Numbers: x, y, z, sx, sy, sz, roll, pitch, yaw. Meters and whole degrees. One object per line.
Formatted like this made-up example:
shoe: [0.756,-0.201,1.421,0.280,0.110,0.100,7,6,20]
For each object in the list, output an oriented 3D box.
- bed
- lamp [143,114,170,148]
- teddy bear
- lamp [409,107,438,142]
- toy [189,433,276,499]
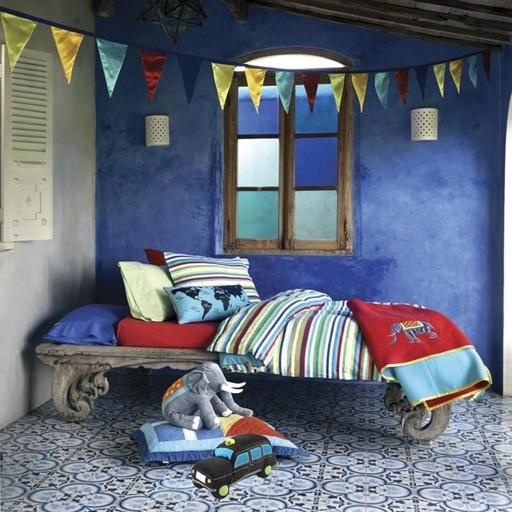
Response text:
bed: [-0.495,0.686,3.351,1.582,0.423,1.104,1,1,-4]
lamp: [-0.811,-1.037,4.514,0.212,0.278,0.226,0,3,-6]
teddy bear: [-0.282,0.781,3.038,0.436,0.369,0.351,-3,0,11]
lamp: [1.296,-1.017,4.186,0.214,0.279,0.230,0,2,-1]
toy: [-0.056,0.675,1.842,0.148,0.184,0.320,-4,-4,40]
